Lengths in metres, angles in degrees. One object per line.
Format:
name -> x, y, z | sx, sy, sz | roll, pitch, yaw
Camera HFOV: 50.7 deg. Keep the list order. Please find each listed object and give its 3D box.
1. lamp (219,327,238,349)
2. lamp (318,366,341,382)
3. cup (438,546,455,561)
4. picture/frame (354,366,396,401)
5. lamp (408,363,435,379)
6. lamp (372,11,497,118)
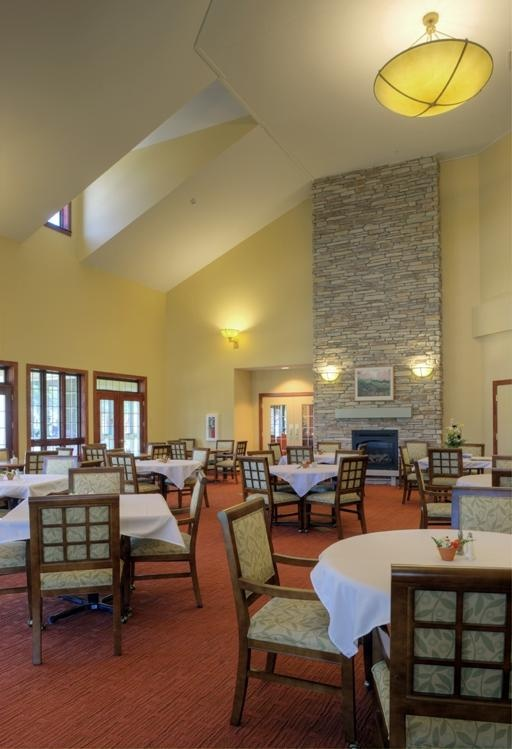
lamp -> -0.561, -0.771, 11.623 | 0.358, 0.353, 0.420 | -5, -11, 34
lamp -> 1.343, 0.008, 10.119 | 0.300, 0.229, 0.308 | -2, -2, 18
cup -> 0.652, 0.619, 1.856 | 0.057, 0.037, 0.056 | 1, -2, 0
picture/frame -> 2.126, 0.170, 9.632 | 0.612, 0.528, 0.023 | -1, -6, 29
lamp -> 2.825, -0.046, 9.255 | 0.341, 0.251, 0.246 | 1, 4, 30
lamp -> 1.777, -3.210, 5.488 | 0.889, 0.882, 0.867 | 25, -31, -32
